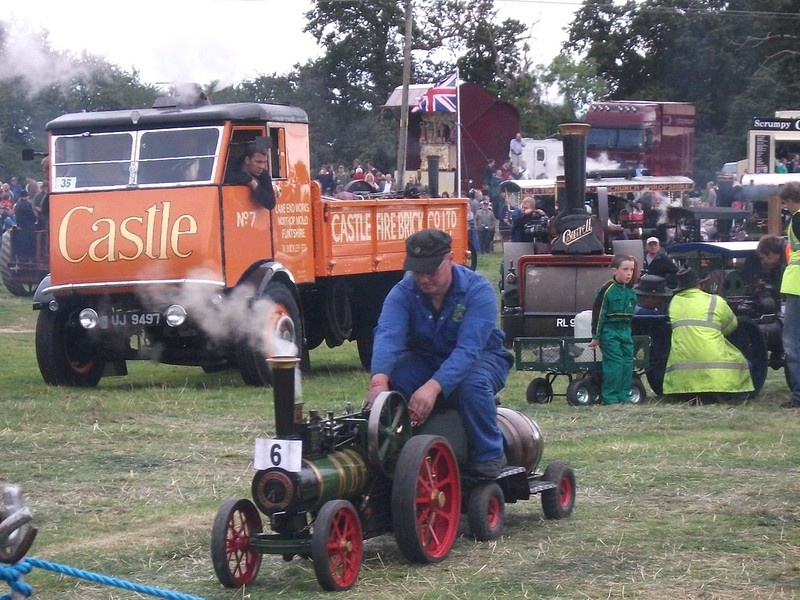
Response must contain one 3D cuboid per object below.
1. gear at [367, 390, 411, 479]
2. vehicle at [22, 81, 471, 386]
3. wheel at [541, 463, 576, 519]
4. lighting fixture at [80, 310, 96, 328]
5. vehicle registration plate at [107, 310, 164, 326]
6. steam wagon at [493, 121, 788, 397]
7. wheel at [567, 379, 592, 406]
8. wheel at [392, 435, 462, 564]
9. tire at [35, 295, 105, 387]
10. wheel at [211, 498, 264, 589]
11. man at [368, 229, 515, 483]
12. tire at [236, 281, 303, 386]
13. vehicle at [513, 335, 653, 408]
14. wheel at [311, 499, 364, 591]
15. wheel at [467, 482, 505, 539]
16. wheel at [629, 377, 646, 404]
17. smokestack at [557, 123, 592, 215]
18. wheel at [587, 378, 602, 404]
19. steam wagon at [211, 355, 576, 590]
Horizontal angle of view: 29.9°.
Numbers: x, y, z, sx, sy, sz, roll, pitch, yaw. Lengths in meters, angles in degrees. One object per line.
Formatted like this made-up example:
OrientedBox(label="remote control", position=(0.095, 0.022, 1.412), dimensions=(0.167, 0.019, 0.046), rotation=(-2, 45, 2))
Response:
OrientedBox(label="gear", position=(-0.087, 1.113, 12.076), dimensions=(0.202, 0.692, 0.638), rotation=(2, 8, 32))
OrientedBox(label="vehicle", position=(-1.524, -0.775, 20.345), dimensions=(3.450, 3.660, 6.436), rotation=(-1, 3, 36))
OrientedBox(label="wheel", position=(1.392, 1.674, 13.046), dimensions=(0.130, 0.397, 0.401), rotation=(0, 15, 36))
OrientedBox(label="lighting fixture", position=(-3.680, 0.220, 17.640), dimensions=(0.218, 0.158, 0.126), rotation=(-2, -1, -7))
OrientedBox(label="vehicle registration plate", position=(-3.099, 0.214, 17.470), dimensions=(0.710, 0.113, 0.132), rotation=(-2, -1, 30))
OrientedBox(label="steam wagon", position=(3.536, -0.593, 20.899), dimensions=(3.025, 3.876, 5.333), rotation=(-1, -2, 22))
OrientedBox(label="wheel", position=(2.108, 1.078, 17.372), dimensions=(0.265, 0.258, 0.099), rotation=(-8, -2, -38))
OrientedBox(label="wheel", position=(0.207, 1.618, 12.120), dimensions=(0.259, 0.980, 0.869), rotation=(-6, 9, 37))
OrientedBox(label="tire", position=(-3.978, 0.465, 17.964), dimensions=(0.328, 1.125, 1.048), rotation=(-3, 3, 22))
OrientedBox(label="wheel", position=(-1.280, 1.940, 11.809), dimensions=(0.200, 0.727, 0.652), rotation=(0, 8, 26))
OrientedBox(label="man", position=(0.315, 0.449, 12.819), dimensions=(1.479, 2.111, 1.237), rotation=(-10, 13, -38))
OrientedBox(label="tire", position=(-1.509, 0.454, 18.229), dimensions=(0.412, 1.198, 1.354), rotation=(-5, 0, 30))
OrientedBox(label="vehicle", position=(2.476, 0.856, 17.714), dimensions=(1.749, 1.000, 1.262), rotation=(-3, 1, 35))
OrientedBox(label="wheel", position=(-0.499, 1.930, 11.747), dimensions=(0.197, 0.761, 0.701), rotation=(-2, -4, 28))
OrientedBox(label="wheel", position=(0.736, 1.790, 12.650), dimensions=(0.183, 0.521, 0.537), rotation=(-3, 4, 24))
OrientedBox(label="wheel", position=(2.791, 1.071, 17.531), dimensions=(0.104, 0.268, 0.273), rotation=(-3, 7, 25))
OrientedBox(label="smokestack", position=(2.458, -1.769, 20.490), dimensions=(0.478, 1.388, 0.467), rotation=(-3, 5, -8))
OrientedBox(label="wheel", position=(2.317, 1.064, 17.493), dimensions=(0.067, 0.252, 0.252), rotation=(7, -15, -17))
OrientedBox(label="steam wagon", position=(0.099, 1.431, 12.506), dimensions=(1.364, 1.584, 3.226), rotation=(-4, -2, 39))
